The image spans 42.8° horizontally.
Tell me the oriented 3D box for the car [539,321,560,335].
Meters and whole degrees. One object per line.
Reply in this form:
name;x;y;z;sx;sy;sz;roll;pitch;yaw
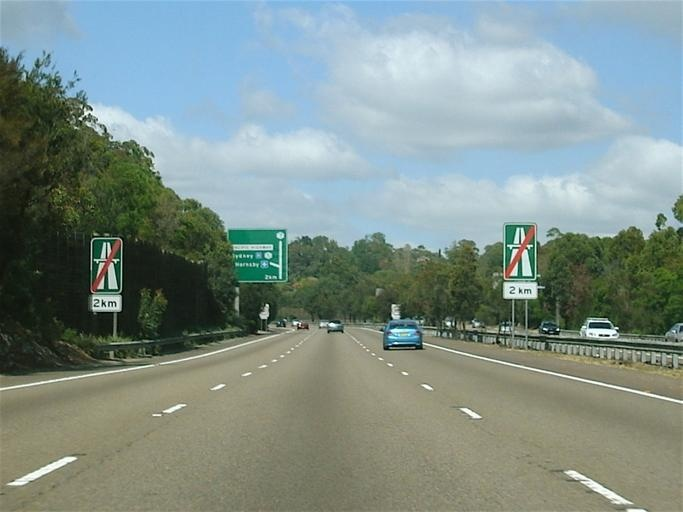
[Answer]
car;20.234;7.107;86.084;1.100;1.108;2.705;0;-8;4

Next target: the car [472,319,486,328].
car;22.793;11.420;147.663;1.514;1.373;2.534;1;-9;-14

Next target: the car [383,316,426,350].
car;3.151;4.081;45.270;1.893;1.578;1.771;0;-6;5

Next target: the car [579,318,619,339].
car;17.850;5.159;61.311;1.274;1.237;3.127;-1;-12;3
